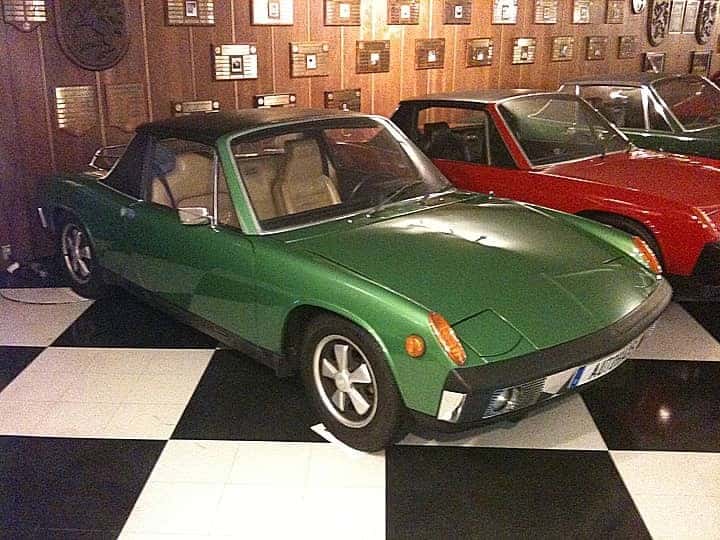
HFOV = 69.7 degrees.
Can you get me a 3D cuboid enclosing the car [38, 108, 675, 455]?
[{"bbox_3d":[-0.146,-0.122,3.163,3.293,1.618,1.404,15,27,36],"label":"car"}]
